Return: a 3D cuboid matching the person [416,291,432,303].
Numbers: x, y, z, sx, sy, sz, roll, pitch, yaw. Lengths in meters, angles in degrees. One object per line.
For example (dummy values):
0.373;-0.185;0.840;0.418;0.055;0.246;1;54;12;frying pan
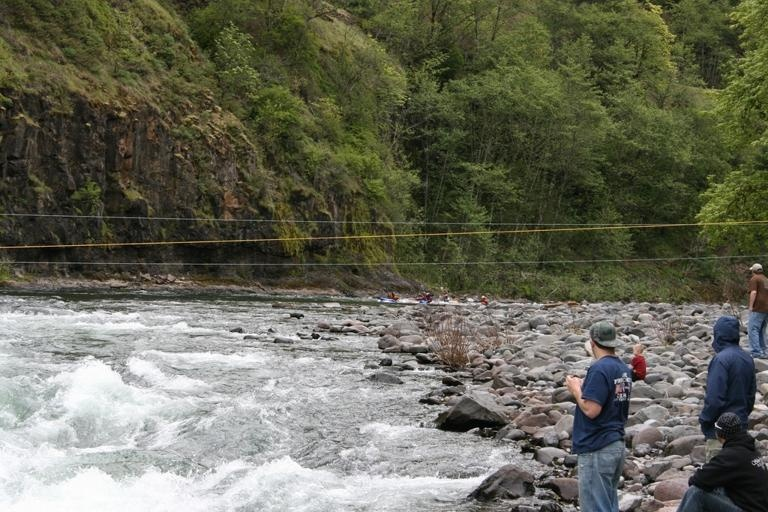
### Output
2.266;2.292;51.318;0.685;0.311;0.752;1;9;-6;person
